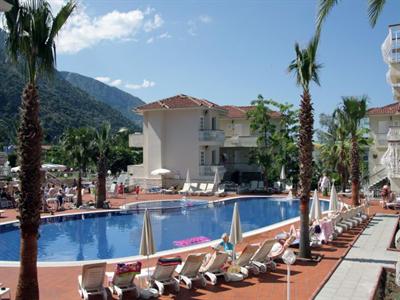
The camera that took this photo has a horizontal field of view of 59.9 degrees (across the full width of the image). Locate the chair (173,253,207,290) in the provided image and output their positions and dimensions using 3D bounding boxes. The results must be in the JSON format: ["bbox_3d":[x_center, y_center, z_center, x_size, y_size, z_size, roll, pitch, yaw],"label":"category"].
[{"bbox_3d":[-0.280,3.747,10.886,0.640,0.996,1.194,2,-4,-27],"label":"chair"}]

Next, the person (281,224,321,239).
[{"bbox_3d":[4.465,3.557,15.089,1.130,0.490,0.903,-9,-8,39],"label":"person"}]

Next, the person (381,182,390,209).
[{"bbox_3d":[13.425,3.379,24.968,0.482,1.595,1.601,-2,-3,29],"label":"person"}]

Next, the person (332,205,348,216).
[{"bbox_3d":[7.655,3.353,19.012,1.151,0.479,0.412,-11,-10,-31],"label":"person"}]

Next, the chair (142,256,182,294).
[{"bbox_3d":[-1.115,3.793,10.709,0.615,0.978,1.181,3,-6,-25],"label":"chair"}]

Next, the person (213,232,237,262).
[{"bbox_3d":[0.922,3.451,12.353,0.648,0.863,0.671,20,-39,-22],"label":"person"}]

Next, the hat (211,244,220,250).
[{"bbox_3d":[0.568,3.440,12.083,0.251,0.165,0.405,-1,-4,5],"label":"hat"}]
